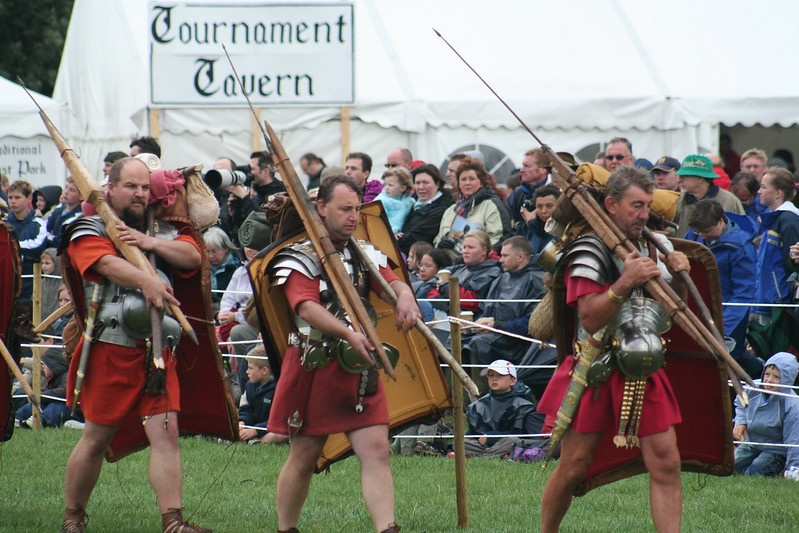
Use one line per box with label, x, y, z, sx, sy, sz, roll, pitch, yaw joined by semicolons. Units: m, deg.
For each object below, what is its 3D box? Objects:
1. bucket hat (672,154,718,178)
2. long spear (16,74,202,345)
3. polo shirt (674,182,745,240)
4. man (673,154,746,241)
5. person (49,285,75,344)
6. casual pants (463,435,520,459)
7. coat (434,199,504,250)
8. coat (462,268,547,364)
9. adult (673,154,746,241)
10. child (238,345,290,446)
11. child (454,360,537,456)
bucket hat;3.729;-1.227;21.680;0.359;0.196;0.318;7;2;1
long spear;-3.547;-0.696;21.479;0.398;4.866;0.350;-14;-26;-44
polo shirt;3.771;-0.636;21.120;0.699;0.634;0.394;-4;-3;5
man;3.830;-0.799;21.424;1.034;1.049;0.666;-7;2;41
person;-4.083;0.624;21.056;0.172;0.655;0.492;19;-6;-8
casual pants;1.095;2.158;20.485;0.665;0.236;0.230;-3;-2;27
coat;0.930;-0.507;22.051;0.293;0.517;0.515;20;-4;-41
coat;1.287;0.685;21.159;1.075;1.457;0.845;-1;-11;42
adult;3.830;-0.799;21.424;1.034;1.049;0.666;-7;2;41
child;-1.720;1.580;21.137;0.721;1.158;0.692;5;20;18
child;1.227;1.713;20.645;1.025;1.411;1.017;-4;-9;41
